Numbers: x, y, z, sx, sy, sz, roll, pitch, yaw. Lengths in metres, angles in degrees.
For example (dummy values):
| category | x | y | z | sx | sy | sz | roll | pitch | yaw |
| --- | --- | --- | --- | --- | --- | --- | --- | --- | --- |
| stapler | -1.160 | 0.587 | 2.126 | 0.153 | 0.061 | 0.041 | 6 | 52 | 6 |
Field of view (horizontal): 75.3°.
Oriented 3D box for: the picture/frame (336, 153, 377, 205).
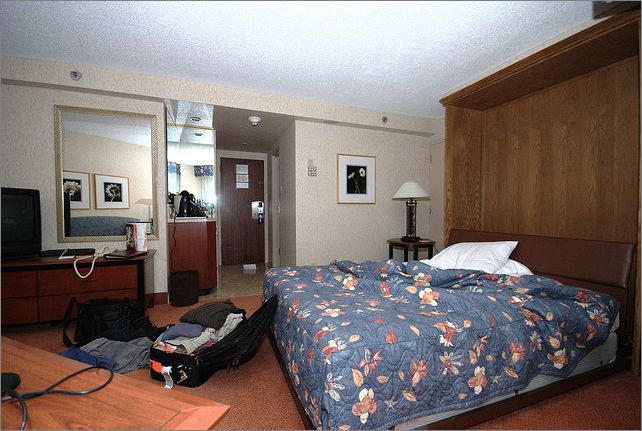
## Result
| category | x | y | z | sx | sy | sz | roll | pitch | yaw |
| --- | --- | --- | --- | --- | --- | --- | --- | --- | --- |
| picture/frame | 0.509 | -0.571 | 6.356 | 0.840 | 0.904 | 0.038 | 0 | 0 | -27 |

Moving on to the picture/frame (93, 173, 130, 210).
| category | x | y | z | sx | sy | sz | roll | pitch | yaw |
| --- | --- | --- | --- | --- | --- | --- | --- | --- | --- |
| picture/frame | -2.694 | -0.312 | 5.317 | 0.455 | 0.533 | 0.040 | -4 | 5 | -28 |

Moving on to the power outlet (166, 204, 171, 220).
| category | x | y | z | sx | sy | sz | roll | pitch | yaw |
| --- | --- | --- | --- | --- | --- | --- | --- | --- | --- |
| power outlet | -2.119 | -0.056 | 5.805 | 0.051 | 0.118 | 0.171 | 0 | 6 | -13 |

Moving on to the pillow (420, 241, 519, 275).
| category | x | y | z | sx | sy | sz | roll | pitch | yaw |
| --- | --- | --- | --- | --- | --- | --- | --- | --- | --- |
| pillow | 1.683 | 0.457 | 4.580 | 0.545 | 0.171 | 0.586 | -10 | 5 | 39 |

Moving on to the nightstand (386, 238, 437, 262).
| category | x | y | z | sx | sy | sz | roll | pitch | yaw |
| --- | --- | --- | --- | --- | --- | --- | --- | --- | --- |
| nightstand | 1.356 | 0.464 | 6.142 | 0.512 | 0.535 | 0.526 | 1 | 0 | -19 |

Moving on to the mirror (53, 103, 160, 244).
| category | x | y | z | sx | sy | sz | roll | pitch | yaw |
| --- | --- | --- | --- | --- | --- | --- | --- | --- | --- |
| mirror | -2.697 | -0.515 | 5.301 | 1.179 | 1.694 | 0.075 | -2 | 3 | -20 |

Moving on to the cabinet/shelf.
| category | x | y | z | sx | sy | sz | roll | pitch | yaw |
| --- | --- | --- | --- | --- | --- | --- | --- | --- | --- |
| cabinet/shelf | -1.822 | 0.579 | 5.899 | 0.642 | 1.093 | 0.235 | -2 | 3 | -21 |

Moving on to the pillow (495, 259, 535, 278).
| category | x | y | z | sx | sy | sz | roll | pitch | yaw |
| --- | --- | --- | --- | --- | --- | --- | --- | --- | --- |
| pillow | 2.057 | 0.576 | 4.424 | 0.224 | 0.068 | 0.244 | 4 | 13 | 43 |

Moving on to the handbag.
| category | x | y | z | sx | sy | sz | roll | pitch | yaw |
| --- | --- | --- | --- | --- | --- | --- | --- | --- | --- |
| handbag | -2.224 | 1.107 | 4.411 | 0.654 | 0.597 | 0.509 | 0 | 1 | -29 |
